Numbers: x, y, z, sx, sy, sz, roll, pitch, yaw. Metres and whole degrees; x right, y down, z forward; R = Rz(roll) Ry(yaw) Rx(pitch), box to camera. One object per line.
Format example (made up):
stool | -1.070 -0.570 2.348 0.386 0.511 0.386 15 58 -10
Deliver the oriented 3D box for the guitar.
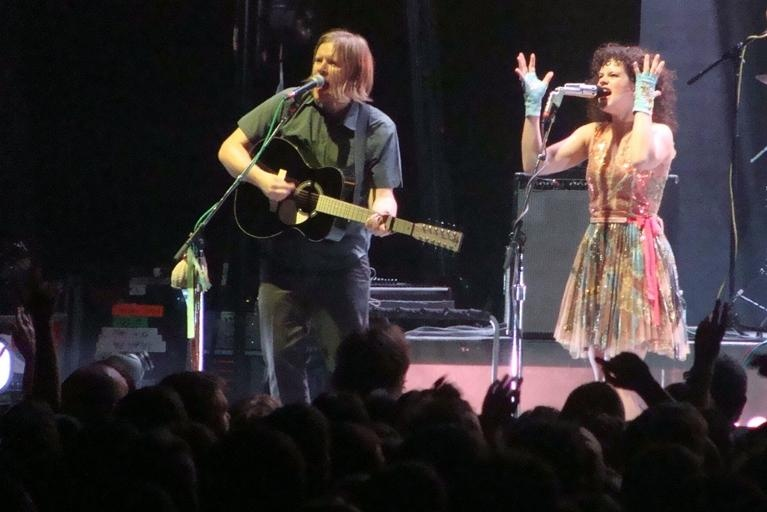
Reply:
guitar | -0.233 -0.234 3.944 1.202 0.544 0.170 21 7 14
